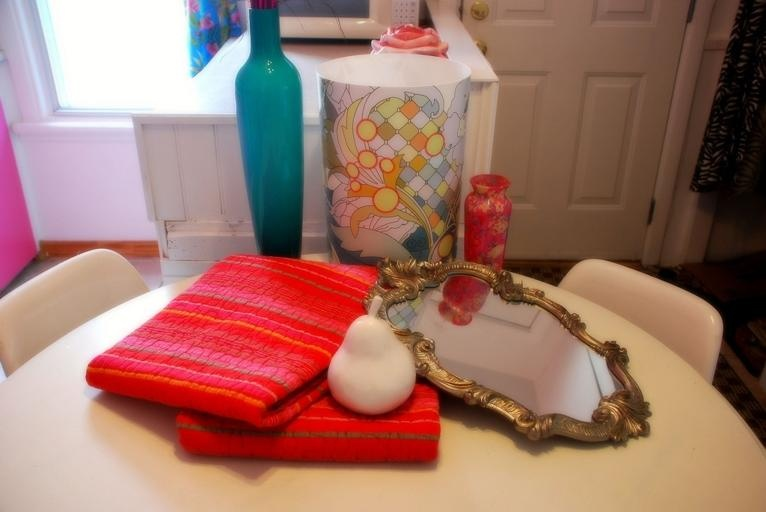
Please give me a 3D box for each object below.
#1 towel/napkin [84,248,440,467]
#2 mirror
[{"bbox_3d":[-0.199,0.166,0.826,0.353,0.098,0.362,7,26,7],"label":"towel/napkin"},{"bbox_3d":[0.205,0.089,0.861,0.369,0.056,0.262,31,38,35],"label":"mirror"}]
